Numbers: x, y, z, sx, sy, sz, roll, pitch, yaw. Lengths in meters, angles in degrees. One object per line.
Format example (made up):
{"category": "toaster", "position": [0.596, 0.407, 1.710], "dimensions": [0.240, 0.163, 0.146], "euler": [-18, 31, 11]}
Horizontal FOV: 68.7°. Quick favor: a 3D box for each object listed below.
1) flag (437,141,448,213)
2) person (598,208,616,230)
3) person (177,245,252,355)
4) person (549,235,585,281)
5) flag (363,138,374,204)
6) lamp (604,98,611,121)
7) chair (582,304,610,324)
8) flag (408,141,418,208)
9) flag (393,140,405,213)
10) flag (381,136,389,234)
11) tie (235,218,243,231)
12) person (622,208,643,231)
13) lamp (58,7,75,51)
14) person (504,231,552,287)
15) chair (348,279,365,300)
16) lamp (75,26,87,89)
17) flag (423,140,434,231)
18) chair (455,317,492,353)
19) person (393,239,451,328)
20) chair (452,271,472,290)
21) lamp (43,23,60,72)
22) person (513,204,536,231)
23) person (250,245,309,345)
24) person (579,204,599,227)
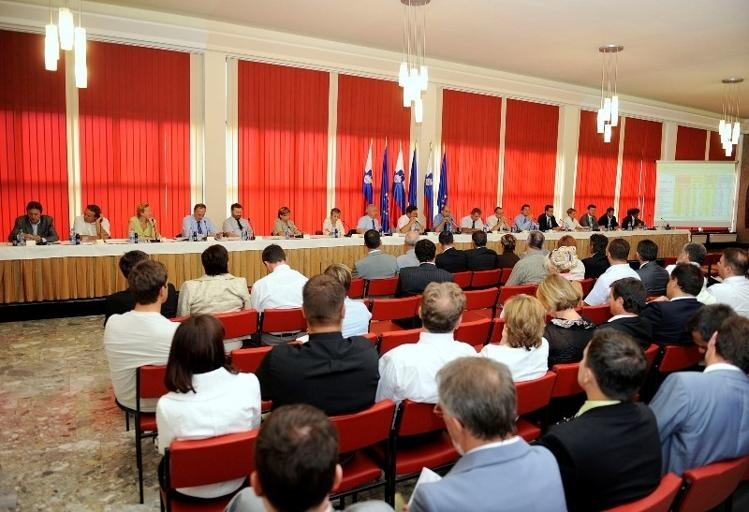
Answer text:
{"category": "flag", "position": [1.459, -1.675, 11.806], "dimensions": [0.150, 1.291, 0.382], "euler": [3, 6, 31]}
{"category": "person", "position": [5.495, -0.913, 13.040], "dimensions": [0.394, 0.491, 1.522], "euler": [2, 6, 22]}
{"category": "person", "position": [-1.602, 0.323, 5.560], "dimensions": [0.709, 1.142, 0.631], "euler": [-3, 35, -20]}
{"category": "person", "position": [2.335, 0.007, 6.767], "dimensions": [0.357, 0.439, 1.123], "euler": [14, 14, 10]}
{"category": "flag", "position": [-0.135, -1.679, 10.958], "dimensions": [0.248, 1.272, 0.229], "euler": [-2, 5, -12]}
{"category": "lamp", "position": [3.756, -2.429, 8.903], "dimensions": [0.099, 0.333, 0.475], "euler": [1, 6, 21]}
{"category": "chair", "position": [2.149, 0.574, 5.346], "dimensions": [0.170, 0.257, 0.201], "euler": [1, 11, 12]}
{"category": "flag", "position": [0.780, -1.648, 11.436], "dimensions": [0.192, 1.186, 0.208], "euler": [0, 5, 8]}
{"category": "flag", "position": [0.520, -1.577, 11.233], "dimensions": [0.220, 1.352, 0.365], "euler": [4, 7, 41]}
{"category": "flag", "position": [0.194, -1.415, 11.067], "dimensions": [0.193, 1.823, 0.488], "euler": [0, 5, 3]}
{"category": "tie", "position": [-2.281, -0.534, 9.252], "dimensions": [0.103, 0.184, 0.042], "euler": [-17, -9, -36]}
{"category": "person", "position": [6.137, -0.904, 13.078], "dimensions": [0.418, 0.455, 0.799], "euler": [2, 6, 28]}
{"category": "lamp", "position": [-3.193, -2.393, 5.708], "dimensions": [0.135, 0.490, 0.465], "euler": [-3, 6, -28]}
{"category": "person", "position": [1.850, 0.027, 6.690], "dimensions": [0.460, 0.638, 0.766], "euler": [1, 6, 16]}
{"category": "chair", "position": [-0.219, 0.376, 6.412], "dimensions": [0.165, 0.330, 0.205], "euler": [-2, 21, -12]}
{"category": "lamp", "position": [-3.169, -2.149, 5.919], "dimensions": [0.105, 0.623, 0.400], "euler": [-4, 6, -30]}
{"category": "flag", "position": [1.163, -1.487, 11.604], "dimensions": [0.281, 1.794, 0.278], "euler": [-2, 6, -19]}
{"category": "chair", "position": [0.874, 0.694, 5.088], "dimensions": [0.244, 0.395, 0.314], "euler": [-7, 26, -15]}
{"category": "person", "position": [0.604, 0.577, 6.557], "dimensions": [0.621, 1.500, 0.792], "euler": [4, -2, 11]}
{"category": "chair", "position": [1.013, 0.285, 6.424], "dimensions": [0.137, 0.283, 0.169], "euler": [-5, 27, -8]}
{"category": "lamp", "position": [-3.513, -2.301, 5.987], "dimensions": [0.123, 0.550, 0.394], "euler": [-4, 6, -31]}
{"category": "person", "position": [3.275, -0.853, 11.945], "dimensions": [0.479, 0.547, 1.815], "euler": [1, 6, 16]}
{"category": "person", "position": [-1.049, 0.566, 5.708], "dimensions": [0.478, 1.308, 0.662], "euler": [4, 25, -8]}
{"category": "person", "position": [4.946, -0.920, 12.770], "dimensions": [0.401, 0.543, 0.804], "euler": [1, 6, 21]}
